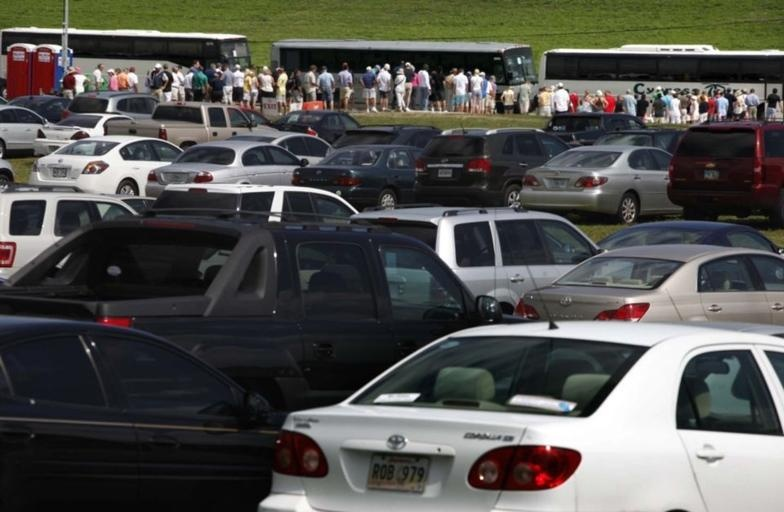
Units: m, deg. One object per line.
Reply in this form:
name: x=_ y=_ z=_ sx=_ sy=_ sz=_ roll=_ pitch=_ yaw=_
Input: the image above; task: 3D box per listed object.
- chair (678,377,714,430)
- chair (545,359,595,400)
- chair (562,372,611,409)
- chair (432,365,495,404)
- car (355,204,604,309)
chair: x=2.206 y=1.089 z=9.747 sx=0.254 sy=0.443 sz=0.313 roll=-5 pitch=-20 yaw=25
chair: x=1.315 y=0.913 z=9.641 sx=0.255 sy=0.337 sz=0.318 roll=4 pitch=16 yaw=14
chair: x=1.438 y=0.941 z=9.638 sx=0.373 sy=0.201 sz=0.333 roll=6 pitch=54 yaw=13
chair: x=0.549 y=0.956 z=9.833 sx=0.346 sy=0.212 sz=0.271 roll=0 pitch=1 yaw=36
car: x=1.334 y=-0.124 z=17.197 sx=2.829 sy=1.175 sz=1.375 roll=-5 pitch=6 yaw=-42
